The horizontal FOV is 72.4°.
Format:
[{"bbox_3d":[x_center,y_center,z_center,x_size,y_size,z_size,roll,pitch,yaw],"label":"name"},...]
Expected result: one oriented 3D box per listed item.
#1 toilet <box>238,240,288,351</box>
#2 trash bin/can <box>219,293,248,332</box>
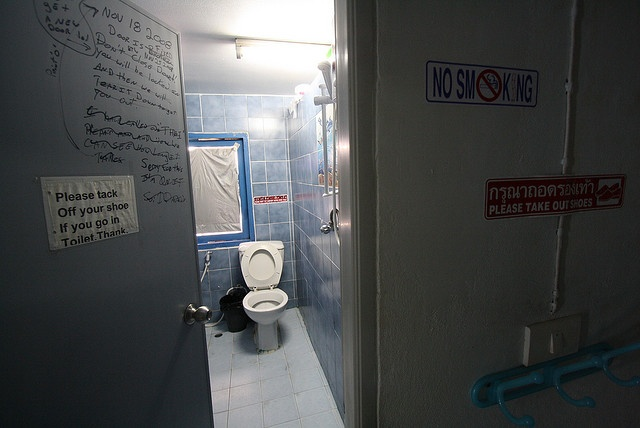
[{"bbox_3d":[-0.447,0.655,3.482,0.359,0.707,0.699,-4,15,-9],"label":"toilet"},{"bbox_3d":[-0.699,0.799,3.658,0.274,0.332,0.267,-2,5,-11],"label":"trash bin/can"}]
